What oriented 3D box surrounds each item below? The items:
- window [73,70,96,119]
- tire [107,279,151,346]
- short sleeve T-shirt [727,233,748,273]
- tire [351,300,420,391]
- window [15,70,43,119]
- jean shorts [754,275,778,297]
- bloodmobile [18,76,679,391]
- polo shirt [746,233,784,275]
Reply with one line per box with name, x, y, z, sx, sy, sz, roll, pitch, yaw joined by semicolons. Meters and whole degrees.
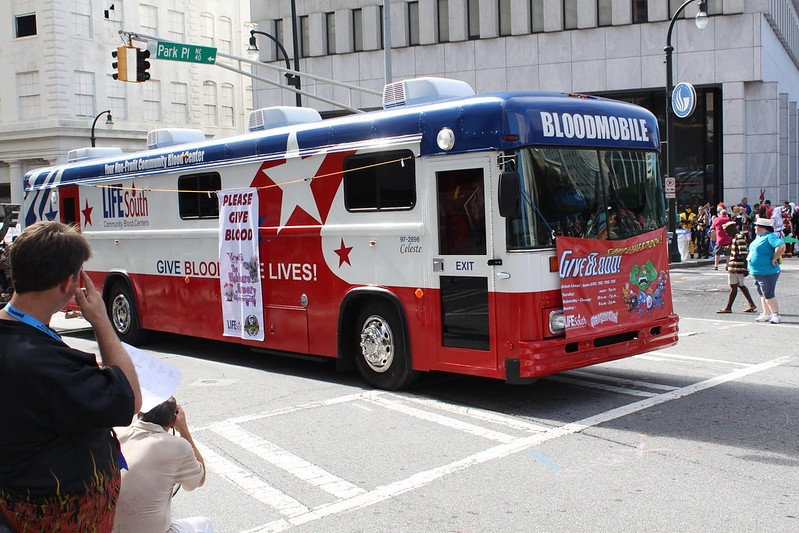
window;-18.434;-10.142;43.814;0.180;2.579;1.323;1;6;35
tire;-4.534;0.760;12.689;0.949;1.028;0.309;17;6;39
short sleeve T-shirt;6.910;-0.227;15.376;0.350;0.877;0.786;2;7;25
tire;-0.155;1.053;9.970;1.019;1.225;0.438;10;8;44
window;-21.339;-10.006;43.573;1.377;2.648;0.312;-3;-1;10
jean shorts;6.975;0.335;14.375;0.395;0.548;0.465;0;3;-1
bloodmobile;-2.193;-0.479;12.849;12.995;3.944;2.937;3;8;37
polo shirt;6.966;-0.248;14.401;0.614;0.939;0.971;-1;3;0
